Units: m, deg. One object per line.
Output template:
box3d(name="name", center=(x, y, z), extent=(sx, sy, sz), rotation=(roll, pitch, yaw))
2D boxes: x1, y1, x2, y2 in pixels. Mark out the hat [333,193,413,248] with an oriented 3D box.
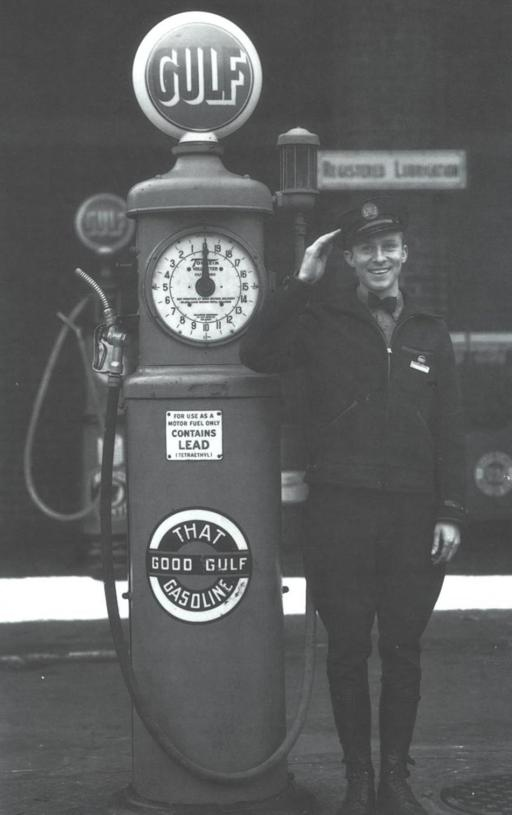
box3d(name="hat", center=(0.365, -0.568, 5.372), extent=(0.242, 0.273, 0.115), rotation=(-22, 80, 29))
